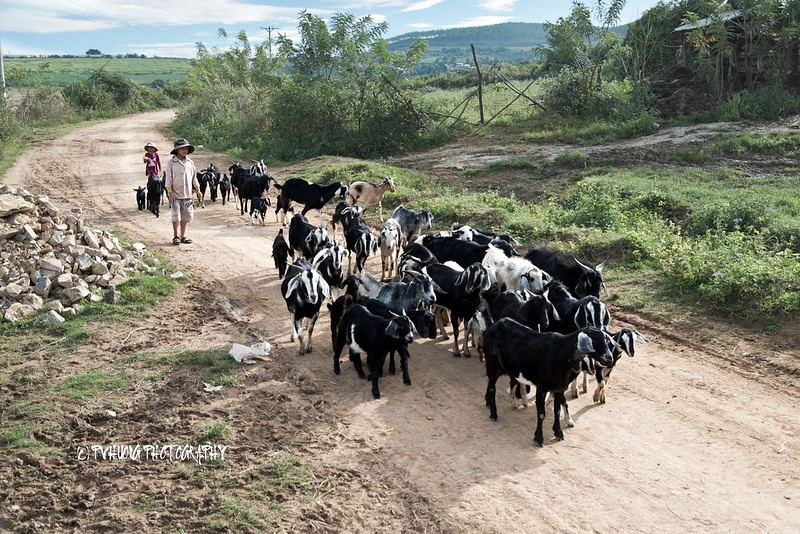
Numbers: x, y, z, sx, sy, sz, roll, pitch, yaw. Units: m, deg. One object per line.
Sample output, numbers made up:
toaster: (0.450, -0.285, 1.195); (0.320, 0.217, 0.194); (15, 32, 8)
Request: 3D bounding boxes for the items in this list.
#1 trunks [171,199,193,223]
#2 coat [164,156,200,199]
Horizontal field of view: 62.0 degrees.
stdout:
trunks: (-5.871, -1.535, 17.790); (0.433, 0.738, 0.574); (-8, -13, 35)
coat: (-5.865, -2.428, 17.801); (0.913, 1.098, 0.634); (-13, 22, -34)
